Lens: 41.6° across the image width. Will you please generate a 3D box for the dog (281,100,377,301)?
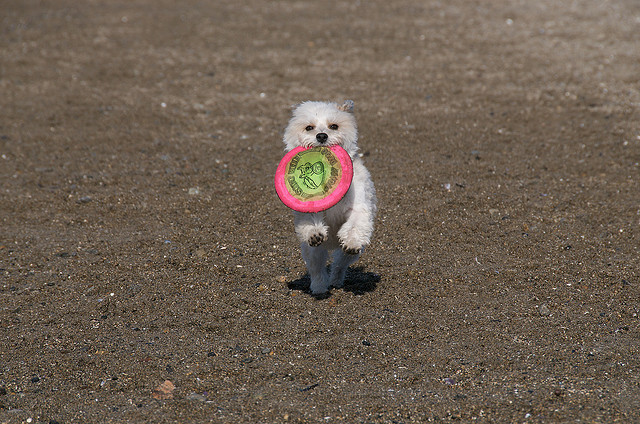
[{"bbox_3d":[0.280,-0.100,13.164,1.357,2.088,2.751,-3,-53,0],"label":"dog"}]
